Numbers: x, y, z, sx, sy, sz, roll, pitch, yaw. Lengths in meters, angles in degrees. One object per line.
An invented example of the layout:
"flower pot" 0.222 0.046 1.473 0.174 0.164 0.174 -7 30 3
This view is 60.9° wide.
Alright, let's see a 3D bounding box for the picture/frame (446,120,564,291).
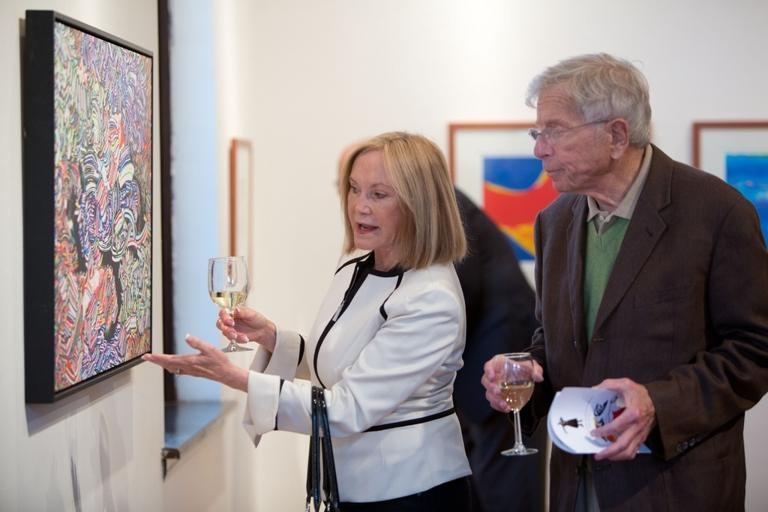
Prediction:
"picture/frame" 0.602 -0.288 3.228 0.817 1.064 0.043 -2 6 10
